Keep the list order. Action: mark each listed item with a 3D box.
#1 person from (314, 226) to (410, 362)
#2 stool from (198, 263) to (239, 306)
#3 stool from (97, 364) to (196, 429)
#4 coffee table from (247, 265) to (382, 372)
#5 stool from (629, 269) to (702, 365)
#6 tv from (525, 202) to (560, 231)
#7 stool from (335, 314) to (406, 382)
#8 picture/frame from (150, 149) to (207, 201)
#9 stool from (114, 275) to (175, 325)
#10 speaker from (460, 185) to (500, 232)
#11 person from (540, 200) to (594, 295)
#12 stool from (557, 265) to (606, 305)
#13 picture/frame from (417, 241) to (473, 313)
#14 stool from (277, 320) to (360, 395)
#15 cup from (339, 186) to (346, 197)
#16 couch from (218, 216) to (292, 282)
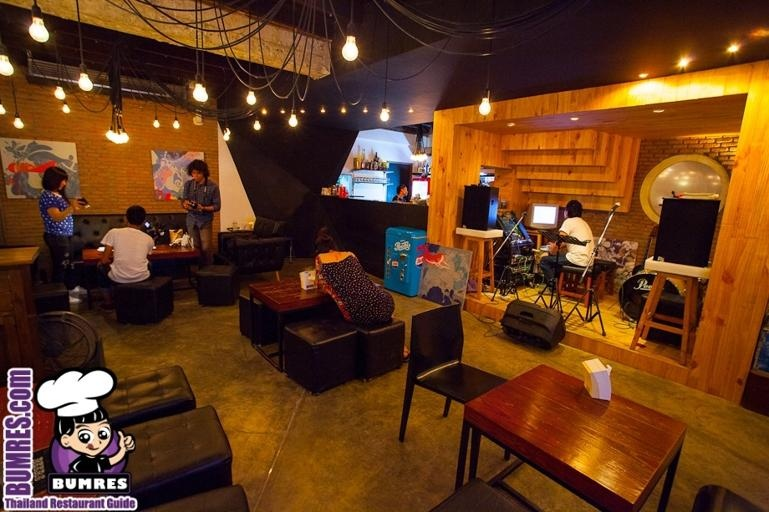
[{"bbox_3d":[-0.390,0.335,6.267,0.714,0.579,1.304,-6,18,-32],"label":"person"},{"bbox_3d":[-2.644,0.444,7.916,0.590,0.550,0.578,-2,17,-12],"label":"stool"},{"bbox_3d":[-2.290,1.340,4.793,0.638,0.168,0.447,-12,40,-30],"label":"stool"},{"bbox_3d":[-0.992,0.786,6.486,1.313,0.819,0.748,-10,20,-41],"label":"coffee table"},{"bbox_3d":[3.659,0.704,6.429,0.687,1.110,0.718,10,15,32],"label":"stool"},{"bbox_3d":[2.891,-0.718,9.146,0.465,0.470,0.481,0,6,-1],"label":"tv"},{"bbox_3d":[-0.212,1.091,6.084,0.677,0.635,0.667,-7,13,-35],"label":"stool"},{"bbox_3d":[-4.028,-1.548,9.643,0.016,0.939,0.985,11,12,35],"label":"picture/frame"},{"bbox_3d":[-3.460,0.644,7.174,0.680,0.556,0.684,2,14,-8],"label":"stool"},{"bbox_3d":[1.537,-0.783,8.070,0.639,0.637,0.641,1,7,-17],"label":"speaker"},{"bbox_3d":[2.855,-0.152,7.767,0.749,1.430,1.828,7,14,22],"label":"person"},{"bbox_3d":[3.285,0.417,8.267,0.850,0.600,0.869,1,-5,-11],"label":"stool"},{"bbox_3d":[0.974,0.327,7.875,0.077,1.099,0.981,5,6,-45],"label":"picture/frame"},{"bbox_3d":[-0.752,1.060,5.995,0.795,0.828,0.777,-7,14,-41],"label":"stool"},{"bbox_3d":[-0.898,-1.371,10.536,0.130,0.198,0.494,1,12,-6],"label":"cup"},{"bbox_3d":[-2.489,-0.256,9.312,1.024,0.885,1.611,-10,16,-36],"label":"couch"}]
